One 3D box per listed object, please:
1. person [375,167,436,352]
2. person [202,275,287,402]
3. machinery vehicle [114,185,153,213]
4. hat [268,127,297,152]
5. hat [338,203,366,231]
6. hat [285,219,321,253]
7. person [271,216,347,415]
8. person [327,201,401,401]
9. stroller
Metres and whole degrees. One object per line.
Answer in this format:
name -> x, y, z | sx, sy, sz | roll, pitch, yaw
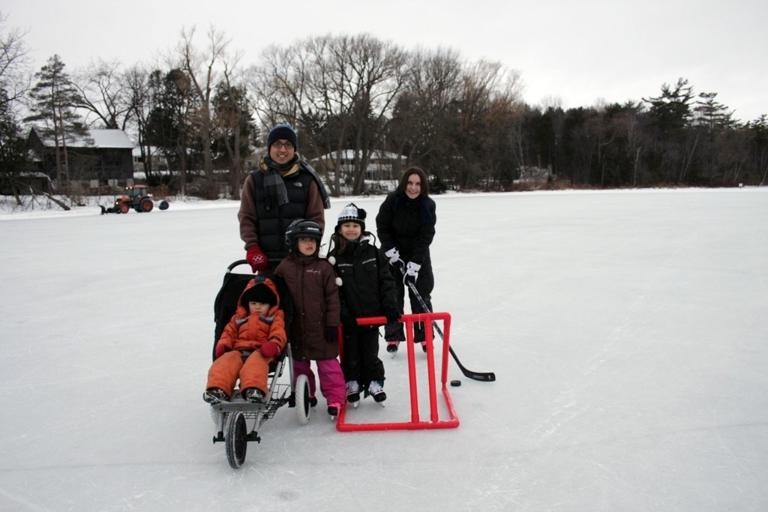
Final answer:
person -> 0.293, 0.074, 7.874 | 0.709, 2.184, 0.867 | 1, 0, 2
person -> -1.223, 0.687, 5.942 | 0.487, 0.575, 1.253 | 0, 33, 2
machinery vehicle -> -11.787, -2.598, 29.994 | 1.035, 1.283, 1.953 | -2, -2, 30
hat -> -1.029, -1.196, 6.508 | 0.298, 0.259, 0.282 | -2, 7, -11
hat -> -0.330, -0.411, 6.738 | 0.236, 0.251, 0.304 | 1, 3, -11
hat -> -0.776, -0.194, 6.243 | 0.267, 0.286, 0.331 | 3, 1, -31
person -> -0.742, 0.524, 6.424 | 0.543, 1.799, 0.801 | 0, 2, -10
person -> -0.251, 0.501, 6.636 | 0.699, 1.986, 0.603 | -5, 7, -10
stroller -> -1.334, 1.132, 6.405 | 0.906, 1.651, 1.750 | 0, -4, 3
